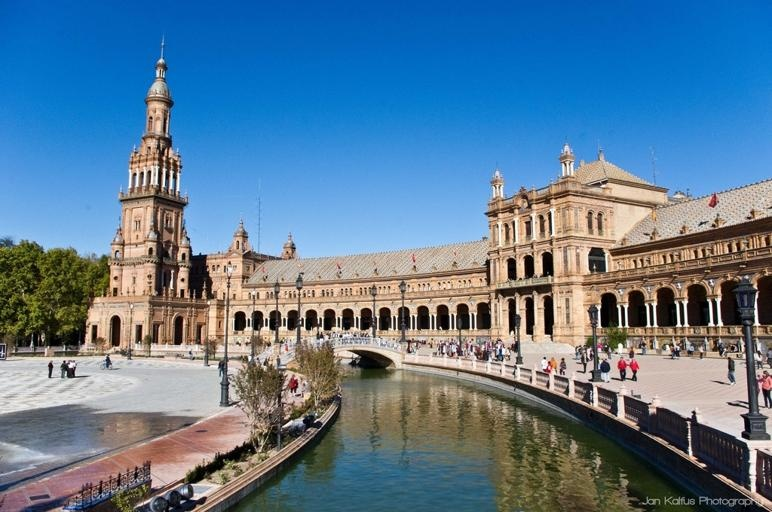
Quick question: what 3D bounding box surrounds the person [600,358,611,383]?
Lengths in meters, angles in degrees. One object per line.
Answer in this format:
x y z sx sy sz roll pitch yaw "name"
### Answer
14.511 7.631 42.228 0.541 1.349 2.446 -3 -9 18 "person"
